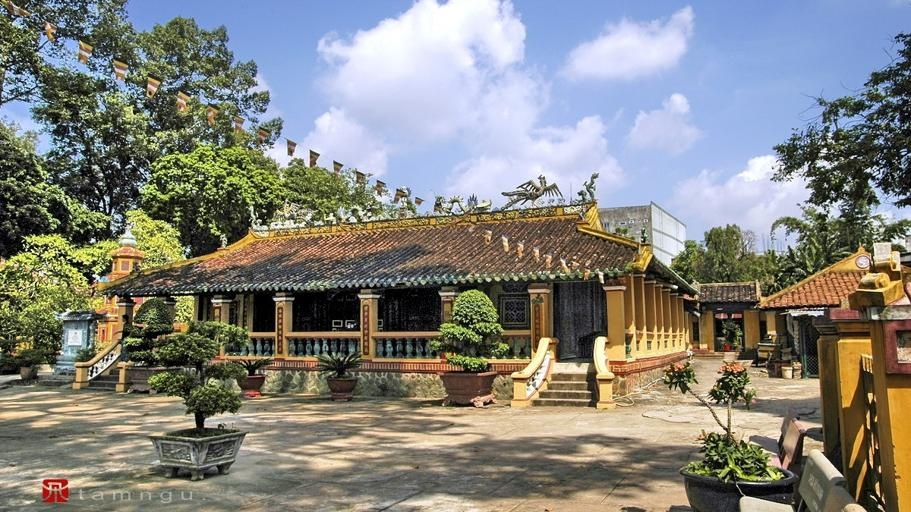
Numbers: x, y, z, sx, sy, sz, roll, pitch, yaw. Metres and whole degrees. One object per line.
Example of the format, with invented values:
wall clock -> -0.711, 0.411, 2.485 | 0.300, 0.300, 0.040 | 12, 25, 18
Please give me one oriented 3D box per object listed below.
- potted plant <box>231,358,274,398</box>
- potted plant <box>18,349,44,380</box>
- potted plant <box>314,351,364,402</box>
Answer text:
potted plant -> -8.360, 4.896, 24.599 | 1.515, 1.348, 1.454 | 0, -3, 1
potted plant -> -19.806, 5.041, 28.457 | 0.921, 1.399, 0.514 | 7, -15, -31
potted plant -> -4.354, 4.641, 23.692 | 2.055, 1.776, 2.052 | -4, -13, 18
